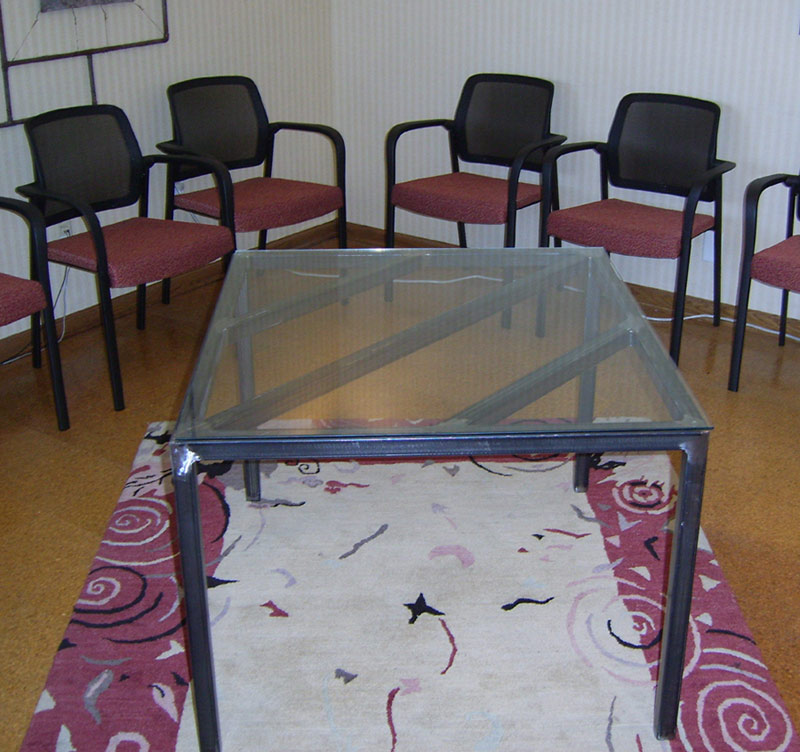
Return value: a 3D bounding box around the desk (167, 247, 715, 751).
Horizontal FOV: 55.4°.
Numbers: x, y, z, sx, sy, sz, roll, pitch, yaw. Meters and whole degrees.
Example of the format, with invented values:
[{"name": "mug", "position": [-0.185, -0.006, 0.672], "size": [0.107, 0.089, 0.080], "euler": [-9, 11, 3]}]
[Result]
[{"name": "desk", "position": [0.093, 0.156, 1.553], "size": [1.008, 0.709, 1.070], "euler": [-3, 16, -12]}]
